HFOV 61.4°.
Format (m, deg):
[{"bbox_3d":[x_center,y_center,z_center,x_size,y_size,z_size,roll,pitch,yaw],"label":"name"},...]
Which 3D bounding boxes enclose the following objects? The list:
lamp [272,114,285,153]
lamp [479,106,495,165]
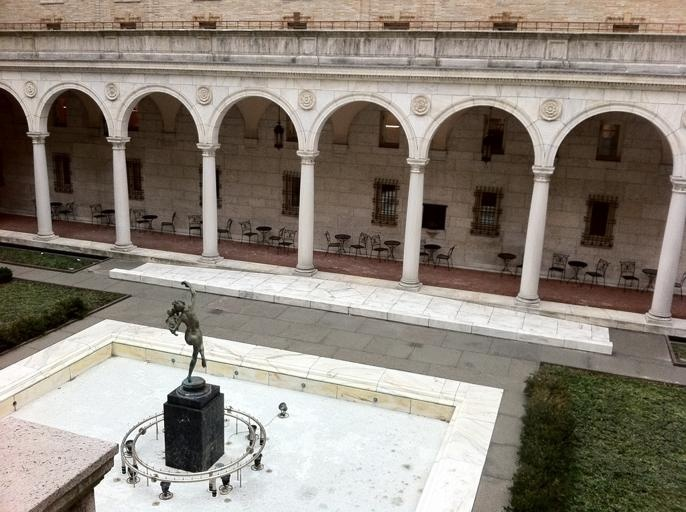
[{"bbox_3d":[-2.271,-4.451,20.725,0.364,1.235,1.218,0,8,-7],"label":"lamp"},{"bbox_3d":[4.734,-3.904,18.950,0.418,1.713,0.164,2,9,6],"label":"lamp"}]
